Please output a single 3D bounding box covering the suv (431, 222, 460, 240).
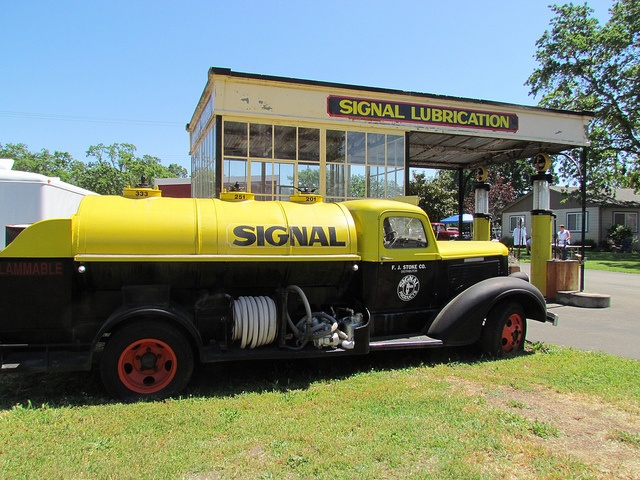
[{"bbox_3d":[7.466,-0.558,28.587,1.816,0.954,1.169,-3,5,-16],"label":"suv"}]
